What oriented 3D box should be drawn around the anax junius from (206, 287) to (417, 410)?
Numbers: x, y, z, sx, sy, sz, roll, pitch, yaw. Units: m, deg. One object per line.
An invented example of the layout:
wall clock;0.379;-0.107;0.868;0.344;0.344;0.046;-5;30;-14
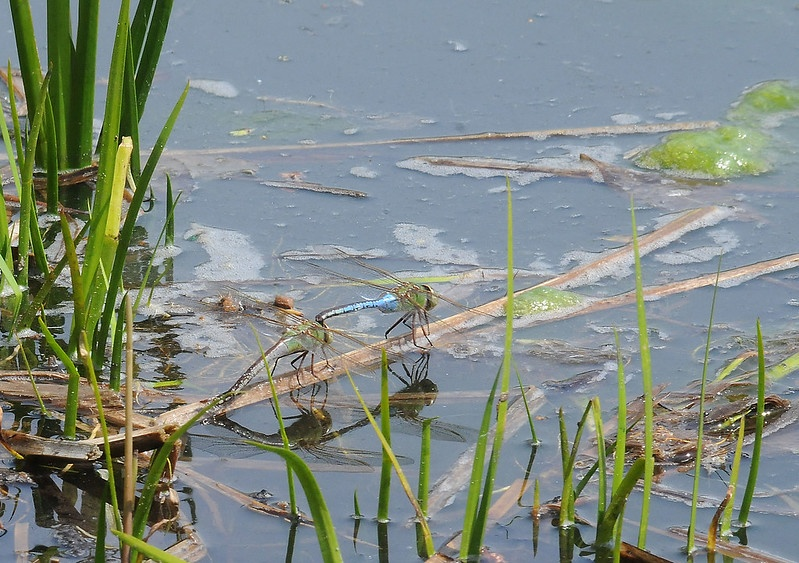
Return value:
anax junius;-0.367;0.274;3.801;1.157;0.234;0.161;-19;26;-11
